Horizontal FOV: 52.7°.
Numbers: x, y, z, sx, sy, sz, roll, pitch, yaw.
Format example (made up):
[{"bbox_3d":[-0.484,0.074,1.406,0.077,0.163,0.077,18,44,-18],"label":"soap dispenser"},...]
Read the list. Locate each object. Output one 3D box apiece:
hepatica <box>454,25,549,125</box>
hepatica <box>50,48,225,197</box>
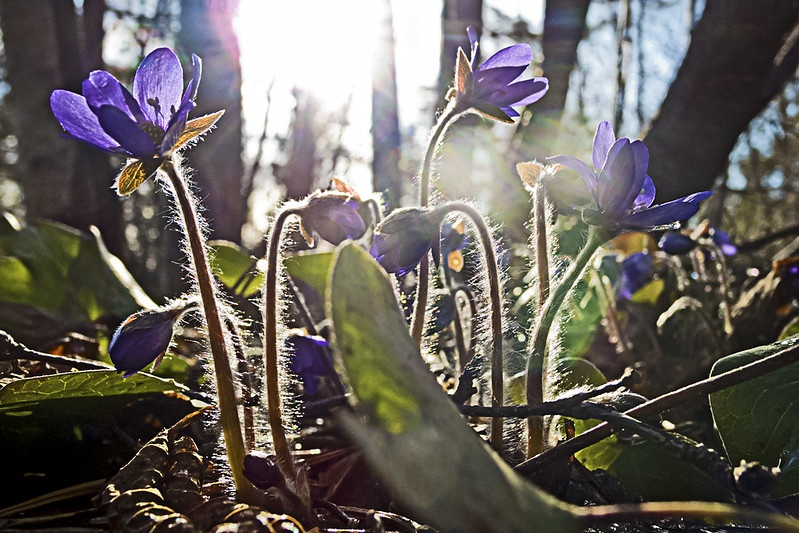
[{"bbox_3d":[0.467,-0.829,3.569,0.405,0.421,0.213,-20,-4,22],"label":"hepatica"},{"bbox_3d":[-1.054,-0.596,3.625,0.656,0.352,0.659,-32,50,-7],"label":"hepatica"}]
